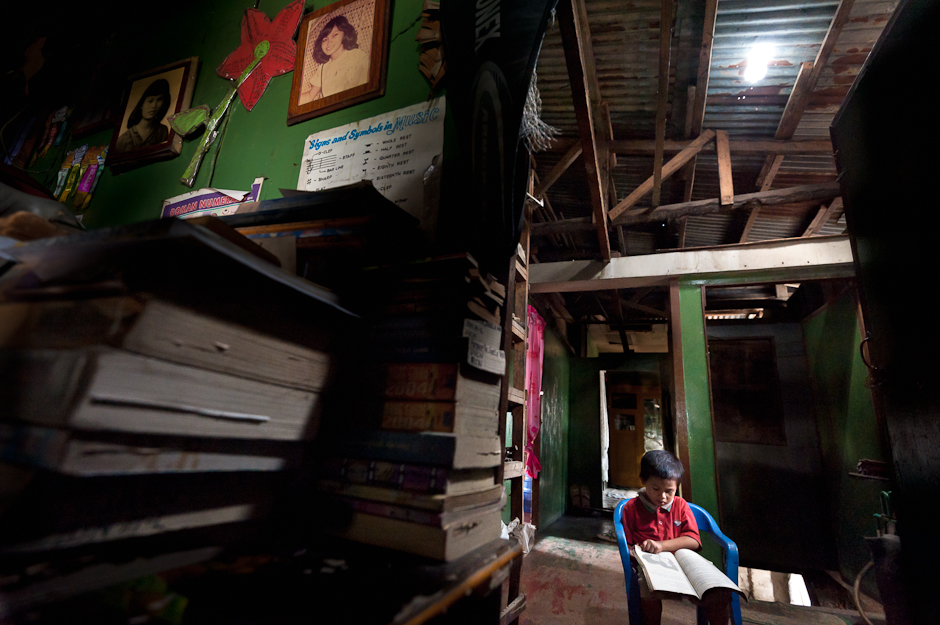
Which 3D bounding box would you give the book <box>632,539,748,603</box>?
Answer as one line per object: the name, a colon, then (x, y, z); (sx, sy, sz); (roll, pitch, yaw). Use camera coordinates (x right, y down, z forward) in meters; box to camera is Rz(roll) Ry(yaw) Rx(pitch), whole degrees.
book: (1.516, 1.864, 3.845); (0.556, 0.174, 0.655); (1, -10, 8)
